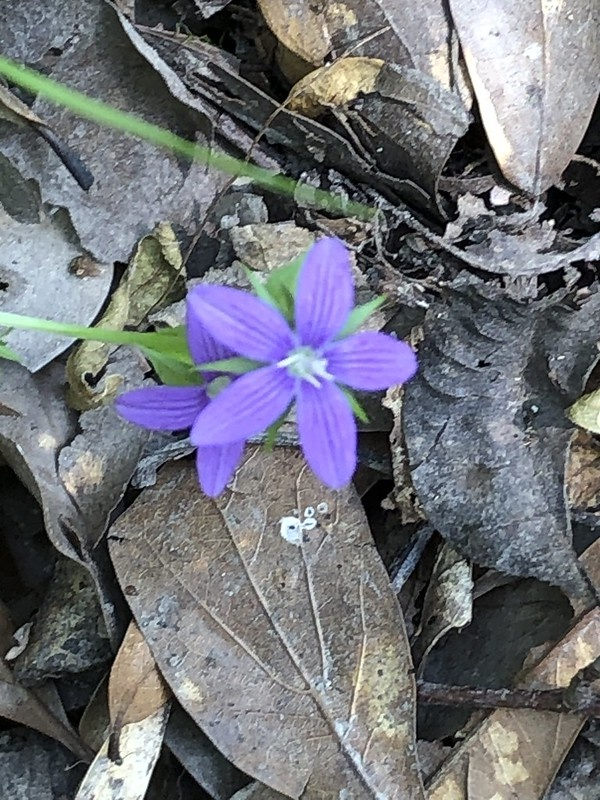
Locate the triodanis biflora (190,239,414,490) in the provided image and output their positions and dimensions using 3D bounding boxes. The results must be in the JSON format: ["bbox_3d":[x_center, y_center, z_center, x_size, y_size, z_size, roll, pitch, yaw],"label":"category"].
[{"bbox_3d":[-0.001,-0.052,1.255,0.392,0.136,0.362,-25,64,-16],"label":"triodanis biflora"}]

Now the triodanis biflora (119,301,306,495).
[{"bbox_3d":[-0.219,-0.021,1.516,0.298,0.121,0.319,-9,105,-1],"label":"triodanis biflora"}]
